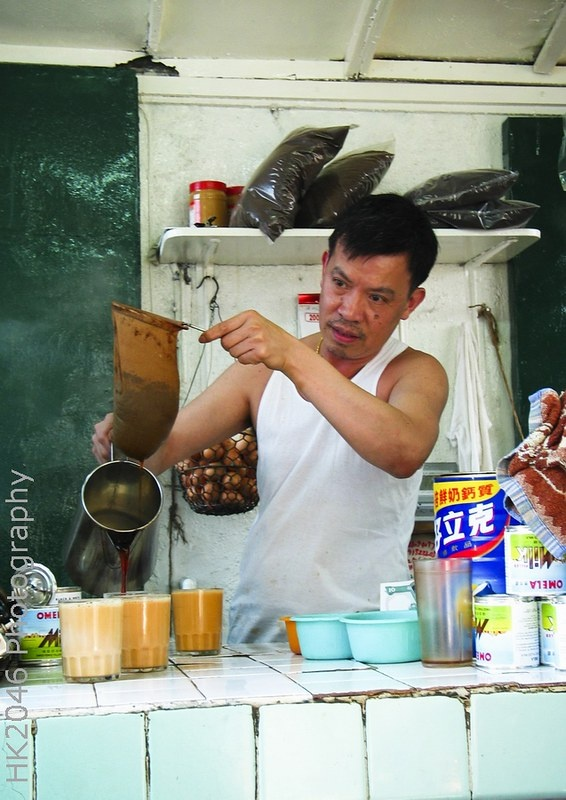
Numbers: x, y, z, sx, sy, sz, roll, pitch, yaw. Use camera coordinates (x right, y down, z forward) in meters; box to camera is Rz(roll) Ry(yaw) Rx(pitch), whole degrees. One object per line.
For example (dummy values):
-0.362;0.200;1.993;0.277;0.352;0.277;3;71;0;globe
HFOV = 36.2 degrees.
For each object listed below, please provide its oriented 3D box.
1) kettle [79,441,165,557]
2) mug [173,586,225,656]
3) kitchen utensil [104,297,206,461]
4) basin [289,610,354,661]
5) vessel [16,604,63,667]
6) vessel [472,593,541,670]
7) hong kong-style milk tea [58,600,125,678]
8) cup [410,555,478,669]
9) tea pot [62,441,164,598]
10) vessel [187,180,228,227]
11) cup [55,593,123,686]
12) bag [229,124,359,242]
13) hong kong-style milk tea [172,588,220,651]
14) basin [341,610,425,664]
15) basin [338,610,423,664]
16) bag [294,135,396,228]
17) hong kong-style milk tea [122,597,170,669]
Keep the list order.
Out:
-0.234;0.131;1.395;0.127;0.065;0.182;15;-15;2;kettle
-0.131;0.332;1.316;0.112;0.098;0.098;0;-11;-2;mug
-0.181;-0.016;1.167;0.097;0.223;0.154;3;5;-7;kitchen utensil
0.050;0.319;1.184;0.085;0.038;0.074;-2;-16;6;basin
-0.347;0.334;1.224;0.067;0.078;0.060;-20;-28;21;vessel
0.274;0.287;1.093;0.090;0.080;0.087;-4;-9;31;vessel
-0.244;0.299;1.086;0.101;0.083;0.092;5;-17;-30;hong kong-style milk tea
0.198;0.263;1.083;0.075;0.127;0.049;4;5;7;cup
-0.275;0.178;1.355;0.154;0.227;0.205;8;-38;-20;tea pot
-0.217;-0.572;2.591;0.170;0.144;0.149;0;-8;-4;vessel
-0.232;0.287;1.053;0.109;0.100;0.098;-4;-12;11;cup
0.066;-0.680;2.529;0.237;0.353;0.373;15;39;4;bag
-0.141;0.346;1.348;0.096;0.085;0.083;-4;-19;-2;hong kong-style milk tea
0.129;0.307;1.136;0.093;0.036;0.086;-2;-10;0;basin
0.127;0.309;1.137;0.096;0.034;0.084;-1;-9;-8;basin
0.191;-0.620;2.551;0.302;0.262;0.087;-6;-31;35;bag
-0.185;0.309;1.164;0.062;0.091;0.077;2;5;-9;hong kong-style milk tea
